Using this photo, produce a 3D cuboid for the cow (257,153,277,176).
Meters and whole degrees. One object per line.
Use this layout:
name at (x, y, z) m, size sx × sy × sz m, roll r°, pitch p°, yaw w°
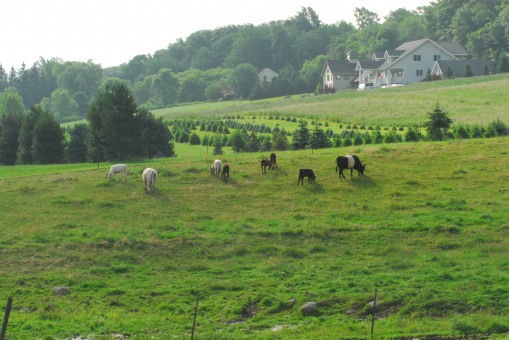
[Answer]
cow at (1.802, -1.319, 118.541) m, size 1.794 × 2.910 × 3.640 m, roll -5°, pitch -1°, yaw 36°
